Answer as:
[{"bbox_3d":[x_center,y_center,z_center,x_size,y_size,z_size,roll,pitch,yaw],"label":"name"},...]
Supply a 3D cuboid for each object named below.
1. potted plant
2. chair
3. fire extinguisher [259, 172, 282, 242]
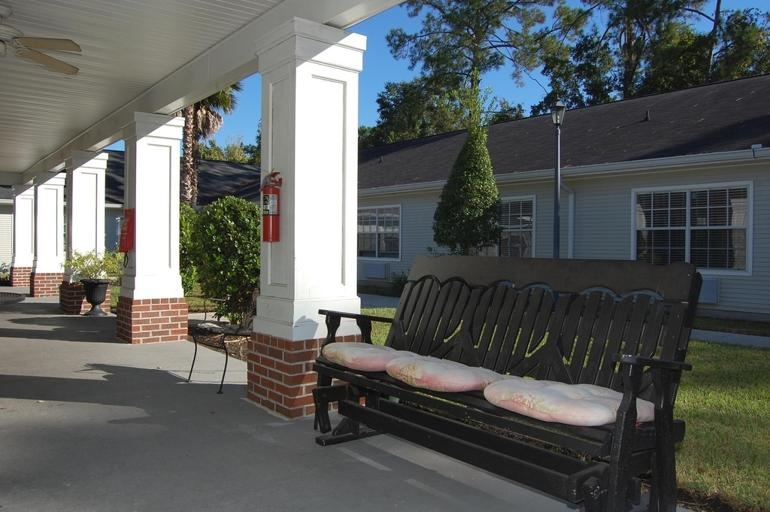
[{"bbox_3d":[-6.009,0.517,12.476,0.950,1.377,1.225,-5,-6,31],"label":"potted plant"},{"bbox_3d":[-2.368,1.273,8.222,0.689,0.861,0.615,17,-22,-32],"label":"chair"},{"bbox_3d":[-1.239,-0.543,6.468,0.254,0.733,0.233,3,10,15],"label":"fire extinguisher"}]
